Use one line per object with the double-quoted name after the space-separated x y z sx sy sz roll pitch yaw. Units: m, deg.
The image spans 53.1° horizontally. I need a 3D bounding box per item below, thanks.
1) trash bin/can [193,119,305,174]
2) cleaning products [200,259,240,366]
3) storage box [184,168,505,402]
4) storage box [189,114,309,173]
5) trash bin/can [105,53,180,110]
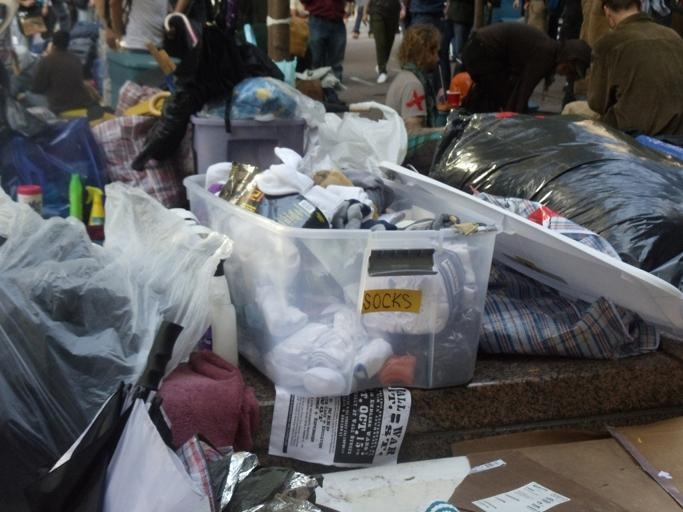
-0.438 -0.560 3.007 0.458 0.244 0.421 -10 24 -28 "trash bin/can"
-0.360 0.164 2.084 0.138 0.268 0.119 -7 24 -28 "cleaning products"
-0.056 -0.044 2.212 0.797 0.536 0.723 -8 26 -17 "storage box"
-0.397 -0.475 2.904 0.490 0.240 0.163 0 30 -5 "storage box"
-1.157 -1.095 4.071 0.329 0.380 0.364 -14 27 -31 "trash bin/can"
